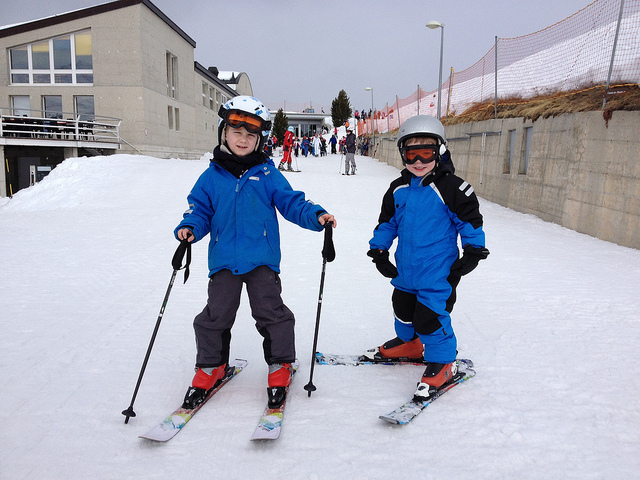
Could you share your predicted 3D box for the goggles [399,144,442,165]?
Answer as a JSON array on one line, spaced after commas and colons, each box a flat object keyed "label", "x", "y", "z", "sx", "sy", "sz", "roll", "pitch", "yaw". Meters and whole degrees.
[{"label": "goggles", "x": 0.814, "y": -0.699, "z": 4.125, "sx": 0.335, "sy": 0.160, "sz": 0.133, "roll": 2, "pitch": 12, "yaw": 13}]

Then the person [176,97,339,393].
[{"label": "person", "x": -0.583, "y": 0.042, "z": 4.062, "sx": 1.071, "sy": 2.316, "sz": 0.617, "roll": -1, "pitch": 11, "yaw": -1}]

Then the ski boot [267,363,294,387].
[{"label": "ski boot", "x": -0.317, "y": 1.080, "z": 4.059, "sx": 0.188, "sy": 0.155, "sz": 0.172, "roll": -2, "pitch": 11, "yaw": -8}]

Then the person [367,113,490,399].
[{"label": "person", "x": 0.881, "y": 0.085, "z": 4.145, "sx": 0.567, "sy": 2.176, "sz": 0.873, "roll": -11, "pitch": 15, "yaw": -43}]

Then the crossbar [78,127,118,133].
[{"label": "crossbar", "x": -9.277, "y": -4.621, "z": 21.301, "sx": 0.742, "sy": 0.182, "sz": 2.855, "roll": -1, "pitch": 12, "yaw": -3}]
